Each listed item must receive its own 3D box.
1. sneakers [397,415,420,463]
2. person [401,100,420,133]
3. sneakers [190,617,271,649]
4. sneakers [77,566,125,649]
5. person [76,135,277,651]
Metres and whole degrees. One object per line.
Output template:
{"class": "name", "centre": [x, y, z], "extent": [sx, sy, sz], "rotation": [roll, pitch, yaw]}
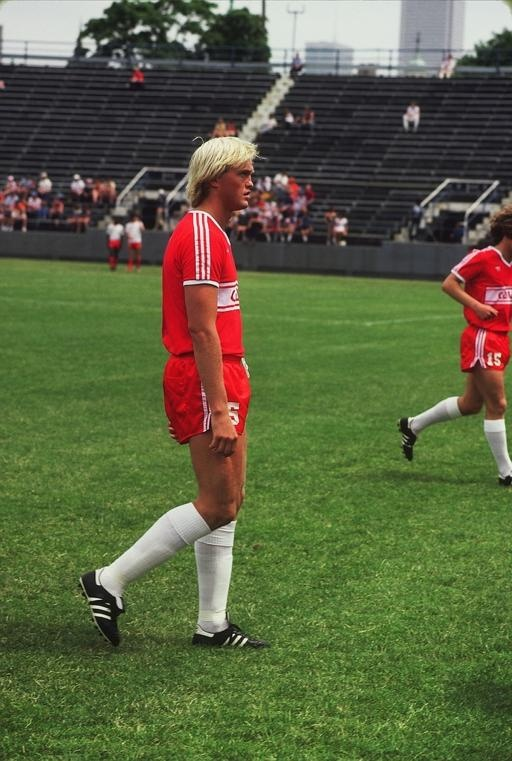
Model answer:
{"class": "sneakers", "centre": [0.729, 0.274, 6.025], "extent": [0.118, 0.230, 0.079], "rotation": [3, 18, 19]}
{"class": "person", "centre": [3.349, -5.718, 27.181], "extent": [0.372, 0.634, 0.762], "rotation": [3, 9, 5]}
{"class": "sneakers", "centre": [-0.082, 0.739, 3.646], "extent": [0.245, 0.089, 0.074], "rotation": [1, -5, -5]}
{"class": "sneakers", "centre": [-0.423, 0.629, 3.551], "extent": [0.118, 0.242, 0.082], "rotation": [-20, 3, 6]}
{"class": "person", "centre": [-0.201, 0.043, 3.505], "extent": [0.534, 1.447, 0.387], "rotation": [-1, 9, -25]}
